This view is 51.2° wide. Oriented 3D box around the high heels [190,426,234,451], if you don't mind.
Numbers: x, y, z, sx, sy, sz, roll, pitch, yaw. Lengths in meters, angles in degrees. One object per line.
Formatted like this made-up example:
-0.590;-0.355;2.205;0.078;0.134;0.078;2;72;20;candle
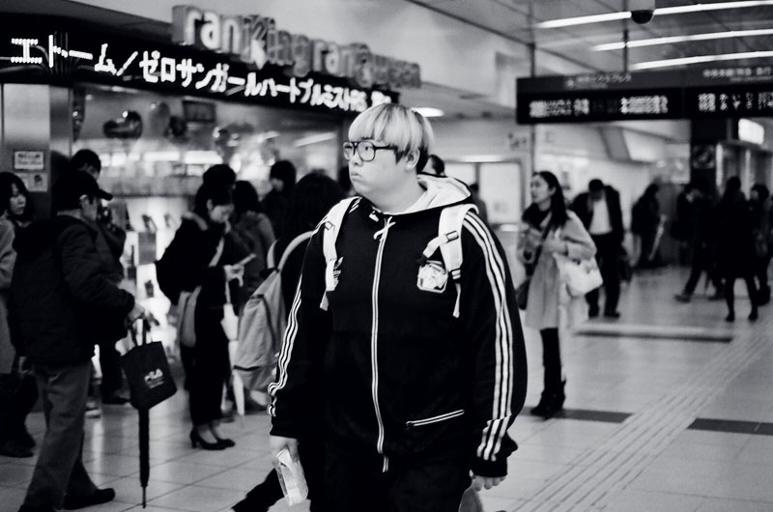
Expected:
-1.330;1.384;6.129;0.302;0.127;0.167;0;0;6;high heels

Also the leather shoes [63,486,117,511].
-1.886;1.536;5.142;0.326;0.128;0.110;-4;4;-27;leather shoes

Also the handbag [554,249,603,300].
1.500;0.131;6.265;0.290;0.357;0.148;-19;-15;-34;handbag

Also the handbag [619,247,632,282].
1.605;0.062;5.433;0.114;0.117;0.206;3;37;4;handbag

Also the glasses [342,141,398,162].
-0.093;-0.422;3.187;0.117;0.040;0.121;-4;-11;35;glasses
